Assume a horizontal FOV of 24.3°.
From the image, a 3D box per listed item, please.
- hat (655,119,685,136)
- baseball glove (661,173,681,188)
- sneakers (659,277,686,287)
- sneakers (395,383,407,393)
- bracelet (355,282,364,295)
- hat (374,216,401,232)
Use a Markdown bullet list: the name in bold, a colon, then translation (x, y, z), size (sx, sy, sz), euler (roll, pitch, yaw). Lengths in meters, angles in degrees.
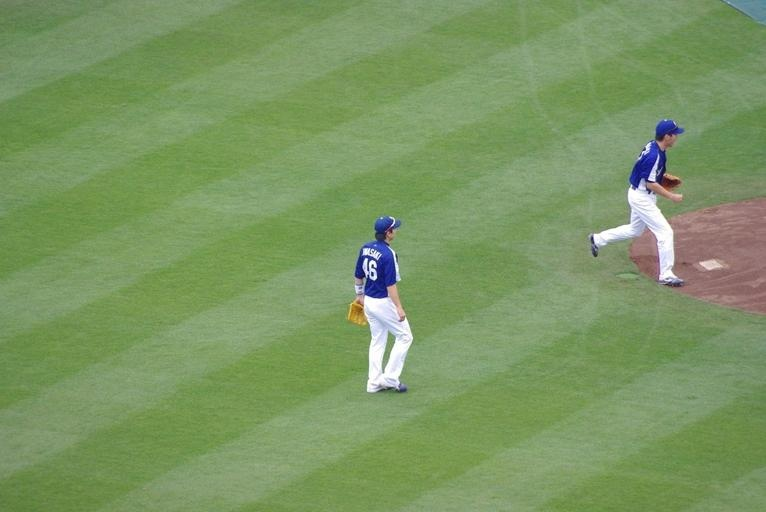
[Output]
- **hat**: translation (4.141, -1.800, 25.322), size (0.487, 0.203, 0.277), euler (-5, 23, -1)
- **baseball glove**: translation (4.197, -1.071, 25.794), size (0.417, 0.141, 0.457), euler (1, -3, 6)
- **sneakers**: translation (4.161, 0.395, 25.416), size (0.347, 0.114, 0.133), euler (2, 7, 21)
- **sneakers**: translation (0.223, 1.822, 24.277), size (0.185, 0.087, 0.082), euler (-14, 29, -30)
- **bracelet**: translation (-0.369, 0.453, 24.302), size (0.186, 0.130, 0.152), euler (1, 21, 6)
- **hat**: translation (0.029, -0.391, 24.011), size (0.336, 0.112, 0.225), euler (-21, 30, -31)
